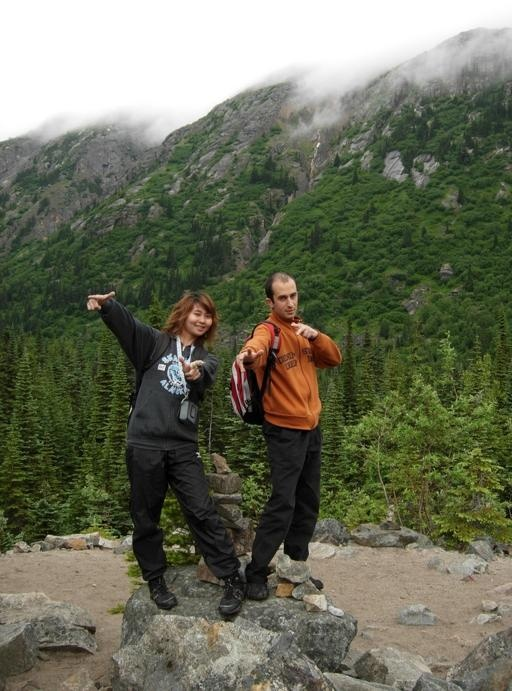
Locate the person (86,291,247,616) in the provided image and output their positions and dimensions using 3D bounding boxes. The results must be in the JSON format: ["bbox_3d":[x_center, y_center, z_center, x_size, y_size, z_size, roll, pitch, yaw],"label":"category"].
[{"bbox_3d":[-0.806,0.943,6.035,1.386,2.941,1.060,1,7,5],"label":"person"}]

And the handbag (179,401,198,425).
[{"bbox_3d":[-0.656,0.644,5.869,0.073,0.172,0.184,-13,-35,21],"label":"handbag"}]

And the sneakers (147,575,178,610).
[{"bbox_3d":[-0.886,2.352,5.861,0.193,0.191,0.414,-3,8,-27],"label":"sneakers"}]
